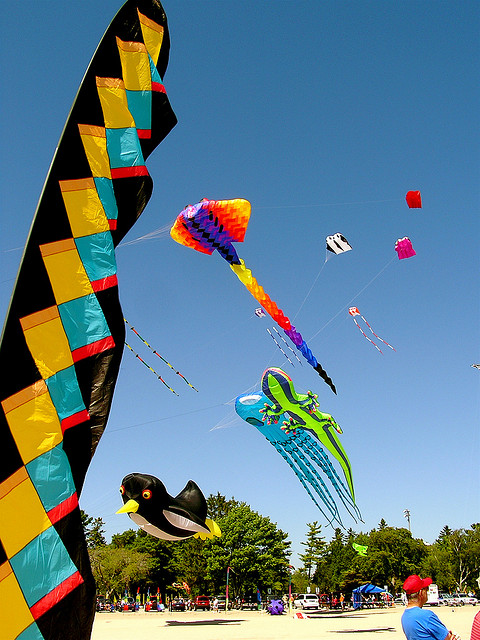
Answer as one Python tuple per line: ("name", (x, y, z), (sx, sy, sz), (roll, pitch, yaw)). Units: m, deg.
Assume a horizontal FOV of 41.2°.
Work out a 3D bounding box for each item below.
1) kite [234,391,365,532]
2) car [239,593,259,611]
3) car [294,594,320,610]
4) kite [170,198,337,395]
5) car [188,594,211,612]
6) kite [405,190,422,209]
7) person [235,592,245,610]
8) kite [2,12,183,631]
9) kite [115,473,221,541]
("kite", (1.555, 2.690, 12.195), (0.958, 3.552, 0.826), (-13, 20, -10))
("car", (0.740, 21.950, 50.013), (1.209, 1.044, 2.478), (1, -43, -3))
("car", (4.516, 19.050, 43.468), (1.152, 0.868, 2.132), (8, -28, -14))
("kite", (0.613, -0.375, 13.819), (2.322, 0.585, 5.233), (-25, -71, 42))
("car", (-2.654, 18.873, 43.012), (1.154, 0.976, 2.297), (8, -33, -16))
("kite", (4.250, -2.914, 15.564), (0.290, 0.328, 0.261), (-4, -18, 23))
("person", (0.024, 22.075, 49.897), (0.951, 1.436, 0.683), (1, 2, -5))
("kite", (-1.302, -0.688, 5.749), (0.554, 6.324, 1.434), (0, -18, 11))
("kite", (-1.440, 3.804, 12.798), (1.680, 1.297, 2.725), (-10, -18, 28))
